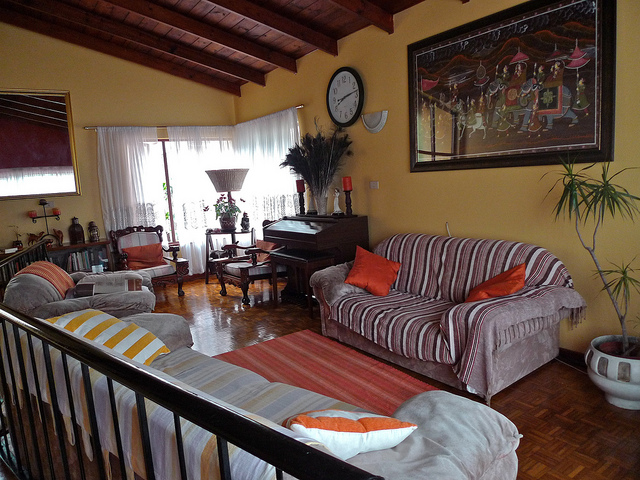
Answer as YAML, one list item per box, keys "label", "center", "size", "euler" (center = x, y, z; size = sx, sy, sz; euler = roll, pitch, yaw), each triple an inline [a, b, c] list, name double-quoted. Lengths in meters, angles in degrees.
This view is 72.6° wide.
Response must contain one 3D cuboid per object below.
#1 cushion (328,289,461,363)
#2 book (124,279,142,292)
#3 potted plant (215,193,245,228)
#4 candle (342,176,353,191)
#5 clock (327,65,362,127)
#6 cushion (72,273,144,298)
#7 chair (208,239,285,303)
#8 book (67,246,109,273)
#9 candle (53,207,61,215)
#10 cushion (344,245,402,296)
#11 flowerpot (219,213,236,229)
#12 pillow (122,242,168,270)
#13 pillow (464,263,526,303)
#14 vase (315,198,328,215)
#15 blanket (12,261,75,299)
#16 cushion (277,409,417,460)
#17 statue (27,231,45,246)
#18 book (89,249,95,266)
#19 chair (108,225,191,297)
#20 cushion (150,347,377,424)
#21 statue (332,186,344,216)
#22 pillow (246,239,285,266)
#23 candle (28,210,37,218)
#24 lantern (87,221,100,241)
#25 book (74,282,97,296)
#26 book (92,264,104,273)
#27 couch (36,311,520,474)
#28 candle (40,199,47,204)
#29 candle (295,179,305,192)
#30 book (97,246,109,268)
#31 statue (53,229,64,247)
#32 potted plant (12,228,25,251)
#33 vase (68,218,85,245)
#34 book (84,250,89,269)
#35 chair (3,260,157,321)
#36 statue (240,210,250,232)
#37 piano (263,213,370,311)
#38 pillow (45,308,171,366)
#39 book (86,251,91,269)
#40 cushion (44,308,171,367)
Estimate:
- label: "cushion"
  center: [0.718, 0.688, 3.650]
  size: [0.540, 0.500, 1.205]
  euler: [11, -3, -42]
- label: "book"
  center: [-1.681, 0.398, 3.907]
  size: [0.119, 0.027, 0.110]
  euler: [0, 20, -19]
- label: "potted plant"
  center: [-1.323, -0.384, 6.543]
  size: [0.361, 0.446, 0.403]
  euler: [-1, 8, -4]
- label: "candle"
  center: [0.308, -0.630, 4.876]
  size: [0.136, 0.157, 0.136]
  euler: [1, 16, 9]
- label: "clock"
  center: [0.274, -1.636, 5.048]
  size: [0.087, 0.666, 0.674]
  euler: [17, 32, 40]
- label: "cushion"
  center: [-1.890, 0.415, 3.910]
  size: [0.532, 0.226, 0.415]
  euler: [10, -3, -22]
- label: "chair"
  center: [-0.927, 0.359, 5.687]
  size: [0.820, 0.677, 0.756]
  euler: [5, 8, 33]
- label: "book"
  center: [-3.169, 0.259, 5.872]
  size: [0.318, 0.291, 0.169]
  euler: [-5, 8, -45]
- label: "candle"
  center: [-3.601, -0.394, 5.951]
  size: [0.080, 0.076, 0.081]
  euler: [-2, 4, 7]
- label: "cushion"
  center: [0.482, 0.288, 4.066]
  size: [0.395, 0.127, 0.415]
  euler: [17, 48, 20]
- label: "flowerpot"
  center: [-1.380, -0.280, 6.426]
  size: [0.203, 0.175, 0.219]
  euler: [0, -2, 1]
- label: "pillow"
  center: [-2.447, 0.217, 6.004]
  size: [0.347, 0.122, 0.222]
  euler: [-10, 56, -35]
- label: "pillow"
  center: [1.365, 0.322, 3.342]
  size: [0.370, 0.273, 0.306]
  euler: [8, -3, 29]
- label: "vase"
  center: [0.031, -0.405, 5.179]
  size: [0.169, 0.227, 0.174]
  euler: [-6, 9, -16]
- label: "blanket"
  center: [-2.323, 0.268, 3.631]
  size: [0.439, 0.127, 0.371]
  euler: [19, 42, 16]
- label: "cushion"
  center: [0.126, 0.782, 1.752]
  size: [0.588, 0.174, 0.130]
  euler: [11, -3, -30]
- label: "statue"
  center: [-3.861, -0.026, 5.889]
  size: [0.173, 0.226, 0.118]
  euler: [11, -2, -32]
- label: "book"
  center: [-3.241, 0.244, 6.155]
  size: [0.119, 0.197, 0.208]
  euler: [-4, 8, -26]
- label: "chair"
  center: [-2.387, 0.324, 5.989]
  size: [0.780, 0.942, 0.863]
  euler: [2, 10, 42]
- label: "cushion"
  center: [-0.413, 0.786, 2.379]
  size: [1.295, 0.113, 0.334]
  euler: [8, -3, 31]
- label: "statue"
  center: [0.233, -0.454, 5.152]
  size: [0.148, 0.331, 0.340]
  euler: [9, -2, 0]
- label: "pillow"
  center: [-0.729, 0.120, 5.787]
  size: [0.328, 0.380, 0.114]
  euler: [-1, -14, 43]
- label: "candle"
  center: [-3.851, -0.351, 5.831]
  size: [0.089, 0.085, 0.087]
  euler: [0, 9, -5]
- label: "lantern"
  center: [-3.261, -0.128, 6.254]
  size: [0.163, 0.303, 0.140]
  euler: [10, -2, -30]
- label: "book"
  center: [-2.012, 0.414, 3.699]
  size: [0.116, 0.031, 0.124]
  euler: [5, 40, -6]
- label: "book"
  center: [-2.253, 0.280, 4.401]
  size: [0.079, 0.073, 0.102]
  euler: [0, 11, -6]
- label: "couch"
  center: [-0.252, 0.755, 2.203]
  size: [2.161, 0.311, 1.233]
  euler: [7, -3, 34]
- label: "candle"
  center: [-3.781, -0.523, 5.915]
  size: [0.067, 0.069, 0.064]
  euler: [11, -3, -36]
- label: "candle"
  center: [-0.239, -0.666, 5.446]
  size: [0.123, 0.136, 0.122]
  euler: [-5, 11, -16]
- label: "book"
  center: [-3.045, 0.232, 6.077]
  size: [0.154, 0.253, 0.265]
  euler: [-6, 8, -25]
- label: "statue"
  center: [-3.654, -0.046, 6.051]
  size: [0.145, 0.242, 0.105]
  euler: [11, -2, -35]
- label: "potted plant"
  center: [-4.025, -0.029, 5.773]
  size: [0.132, 0.314, 0.158]
  euler: [10, -2, -35]
- label: "vase"
  center: [-3.418, -0.124, 6.102]
  size: [0.226, 0.404, 0.251]
  euler: [10, -2, -31]
- label: "book"
  center: [-3.291, 0.266, 6.113]
  size: [0.043, 0.183, 0.174]
  euler: [-6, 8, -25]
- label: "chair"
  center: [-2.048, 0.403, 3.633]
  size: [0.975, 0.481, 1.081]
  euler: [7, -4, 43]
- label: "statue"
  center: [-1.120, -0.267, 6.590]
  size: [0.138, 0.313, 0.274]
  euler: [10, -2, -10]
- label: "piano"
  center: [-0.059, 0.265, 5.306]
  size: [0.656, 1.132, 1.136]
  euler: [-17, 16, -34]
- label: "pillow"
  center: [-1.189, 0.521, 2.482]
  size: [0.659, 0.160, 0.384]
  euler: [20, 9, -1]
- label: "book"
  center: [-3.268, 0.258, 6.108]
  size: [0.031, 0.134, 0.131]
  euler: [-9, 15, -26]
- label: "cushion"
  center: [-1.229, 0.501, 2.478]
  size: [0.568, 0.141, 0.333]
  euler: [18, 11, 1]
